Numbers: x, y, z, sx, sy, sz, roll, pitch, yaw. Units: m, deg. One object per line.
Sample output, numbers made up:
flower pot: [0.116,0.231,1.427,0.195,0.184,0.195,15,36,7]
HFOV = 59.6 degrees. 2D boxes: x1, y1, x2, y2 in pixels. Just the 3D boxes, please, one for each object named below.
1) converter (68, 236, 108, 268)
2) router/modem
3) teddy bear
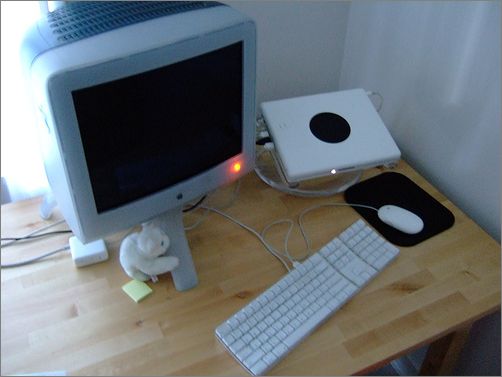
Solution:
converter: [-0.439,0.160,1.184,0.086,0.036,0.093,-16,60,-22]
router/modem: [0.231,-0.169,1.319,0.333,0.081,0.298,-12,65,-13]
teddy bear: [-0.251,0.165,1.095,0.130,0.157,0.130,-2,43,-10]
